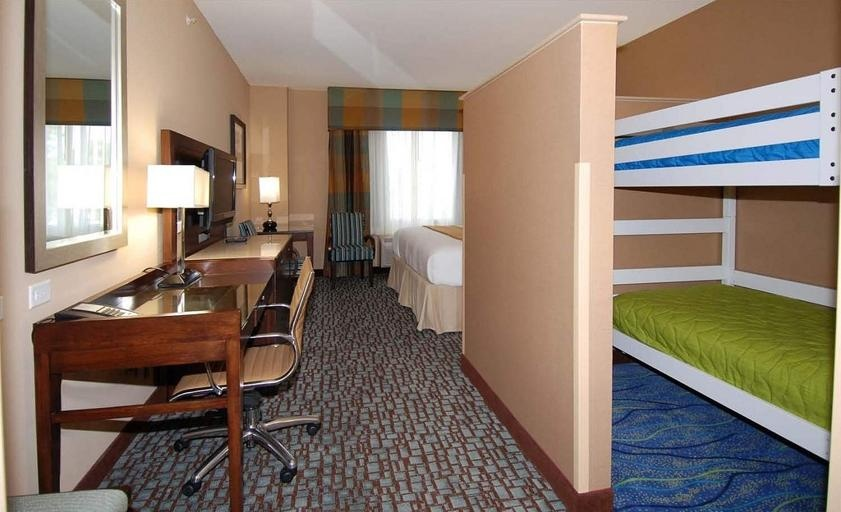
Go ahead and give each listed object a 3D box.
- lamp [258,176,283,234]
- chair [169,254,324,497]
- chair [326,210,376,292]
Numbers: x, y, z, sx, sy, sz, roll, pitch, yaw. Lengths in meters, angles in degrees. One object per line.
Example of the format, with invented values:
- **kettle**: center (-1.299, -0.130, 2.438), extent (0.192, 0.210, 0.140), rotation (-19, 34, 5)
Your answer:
- **lamp**: center (-2.085, -0.705, 7.764), extent (0.244, 0.727, 0.956), rotation (-3, 10, -16)
- **chair**: center (-1.180, 0.712, 4.608), extent (1.480, 1.703, 1.287), rotation (2, 6, -10)
- **chair**: center (-1.026, -0.125, 8.247), extent (0.697, 0.961, 0.781), rotation (0, 8, -4)
